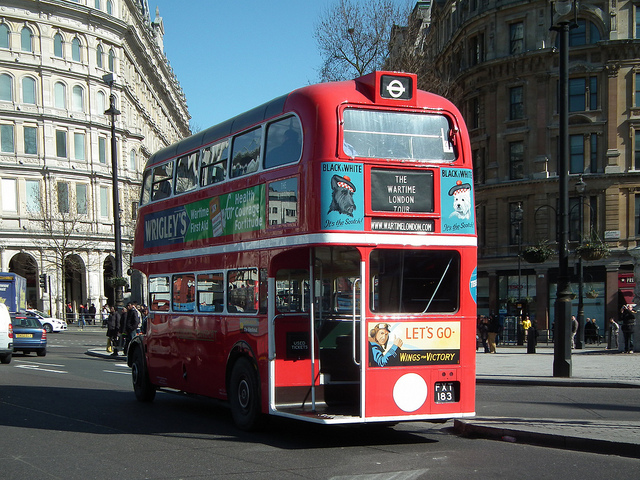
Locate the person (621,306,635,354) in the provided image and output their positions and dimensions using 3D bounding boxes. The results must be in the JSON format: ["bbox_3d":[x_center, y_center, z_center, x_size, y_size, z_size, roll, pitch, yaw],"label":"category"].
[{"bbox_3d":[12.046,3.550,30.597,0.456,1.743,0.753,1,-3,22],"label":"person"}]

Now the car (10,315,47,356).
[{"bbox_3d":[-12.047,4.012,32.474,1.568,1.582,1.265,0,-4,44],"label":"car"}]

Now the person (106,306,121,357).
[{"bbox_3d":[-8.390,3.825,31.954,0.493,1.772,1.479,3,-3,-15],"label":"person"}]

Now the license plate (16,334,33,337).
[{"bbox_3d":[-12.092,3.932,32.132,0.669,0.133,0.111,3,-3,-2],"label":"license plate"}]

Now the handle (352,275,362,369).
[{"bbox_3d":[0.615,1.425,13.572,0.051,1.438,0.280,-1,1,22],"label":"handle"}]

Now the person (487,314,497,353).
[{"bbox_3d":[7.412,4.038,33.701,0.408,1.544,0.985,2,-3,13],"label":"person"}]
